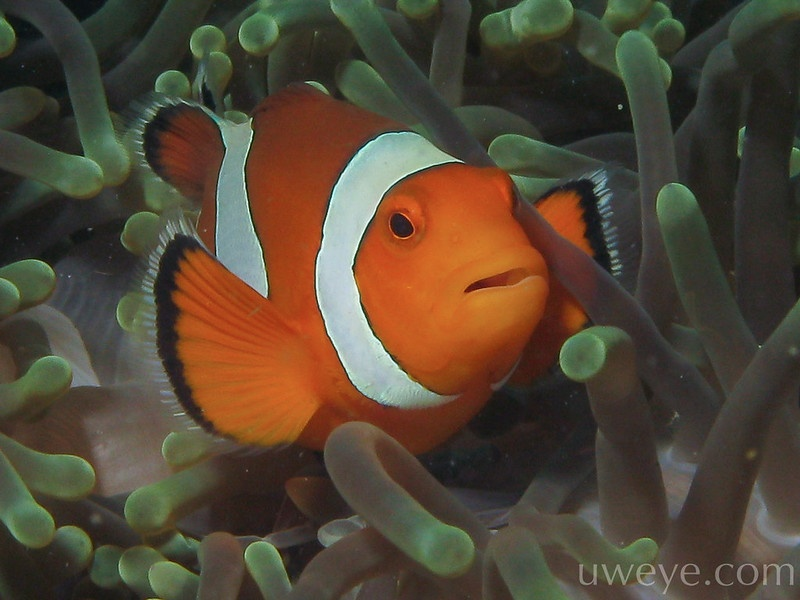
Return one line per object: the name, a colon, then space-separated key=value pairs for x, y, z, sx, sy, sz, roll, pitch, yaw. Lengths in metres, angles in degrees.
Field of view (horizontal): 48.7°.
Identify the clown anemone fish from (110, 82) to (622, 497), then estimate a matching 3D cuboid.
clown anemone fish: x=-0.090 y=-0.032 z=1.379 sx=0.672 sy=0.407 sz=0.559 roll=26 pitch=31 yaw=23
